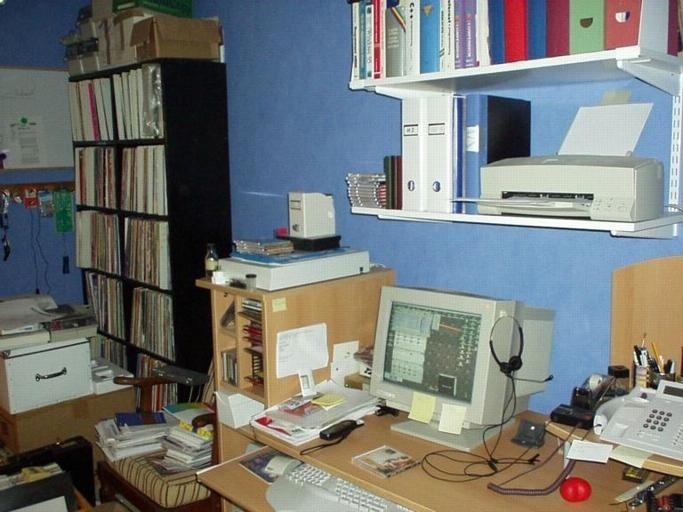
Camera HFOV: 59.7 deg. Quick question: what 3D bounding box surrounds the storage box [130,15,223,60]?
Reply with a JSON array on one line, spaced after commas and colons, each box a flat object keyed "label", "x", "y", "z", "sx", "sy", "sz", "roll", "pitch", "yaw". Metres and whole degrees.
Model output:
[{"label": "storage box", "x": -1.036, "y": -1.324, "z": 3.706, "sx": 0.464, "sy": 0.244, "sz": 0.473, "roll": -11, "pitch": 13, "yaw": -37}]

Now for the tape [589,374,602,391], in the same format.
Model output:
[{"label": "tape", "x": 0.959, "y": 0.476, "z": 2.256, "sx": 0.041, "sy": 0.051, "sz": 0.055, "roll": 7, "pitch": -7, "yaw": 22}]

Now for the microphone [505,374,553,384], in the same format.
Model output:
[{"label": "microphone", "x": 0.764, "y": 0.504, "z": 2.457, "sx": 0.092, "sy": 0.029, "sz": 0.070, "roll": -3, "pitch": 1, "yaw": 10}]

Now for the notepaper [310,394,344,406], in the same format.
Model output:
[{"label": "notepaper", "x": -0.061, "y": 0.636, "z": 2.626, "sx": 0.057, "sy": 0.016, "sz": 0.059, "roll": 10, "pitch": 15, "yaw": 40}]

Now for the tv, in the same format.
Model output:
[{"label": "tv", "x": 0.501, "y": 0.434, "z": 2.639, "sx": 0.703, "sy": 0.616, "sz": 0.713, "roll": -1, "pitch": 8, "yaw": 24}]

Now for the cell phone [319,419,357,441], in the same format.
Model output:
[{"label": "cell phone", "x": -0.019, "y": 0.704, "z": 2.466, "sx": 0.122, "sy": 0.029, "sz": 0.064, "roll": -17, "pitch": 17, "yaw": -40}]
